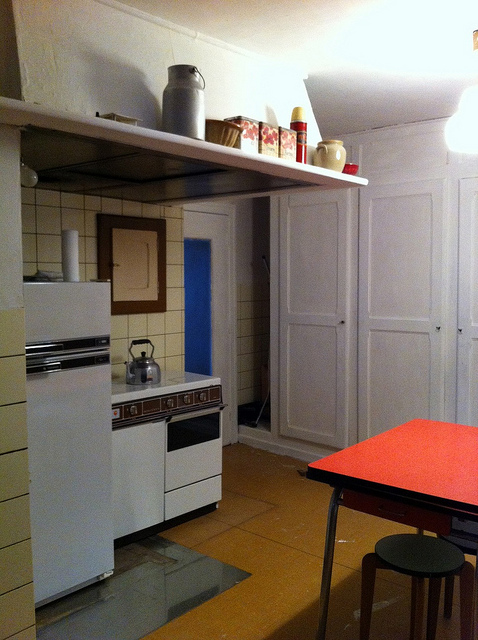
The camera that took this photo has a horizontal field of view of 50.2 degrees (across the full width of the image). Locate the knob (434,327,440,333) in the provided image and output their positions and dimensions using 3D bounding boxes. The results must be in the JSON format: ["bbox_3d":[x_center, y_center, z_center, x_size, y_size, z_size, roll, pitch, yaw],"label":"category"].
[{"bbox_3d":[1.327,0.062,3.408,0.029,0.037,0.025,-3,-4,35],"label":"knob"}]

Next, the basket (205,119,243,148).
[{"bbox_3d":[-0.048,-0.685,1.876,0.157,0.083,0.071,-1,1,-31],"label":"basket"}]

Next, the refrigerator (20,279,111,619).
[{"bbox_3d":[-0.750,0.445,2.262,0.452,1.232,0.385,-7,12,-34],"label":"refrigerator"}]

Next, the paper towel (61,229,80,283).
[{"bbox_3d":[-0.729,-0.276,2.209,0.066,0.238,0.224,-1,1,-20],"label":"paper towel"}]

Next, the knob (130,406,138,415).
[{"bbox_3d":[-0.547,0.466,2.648,0.029,0.064,0.034,2,3,37],"label":"knob"}]

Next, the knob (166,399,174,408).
[{"bbox_3d":[-0.383,0.464,2.842,0.033,0.040,0.036,2,1,31],"label":"knob"}]

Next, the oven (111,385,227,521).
[{"bbox_3d":[-0.437,0.843,3.119,0.713,0.770,0.529,-5,-8,-34],"label":"oven"}]

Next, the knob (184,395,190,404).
[{"bbox_3d":[-0.300,0.460,2.957,0.031,0.067,0.036,1,3,39],"label":"knob"}]
